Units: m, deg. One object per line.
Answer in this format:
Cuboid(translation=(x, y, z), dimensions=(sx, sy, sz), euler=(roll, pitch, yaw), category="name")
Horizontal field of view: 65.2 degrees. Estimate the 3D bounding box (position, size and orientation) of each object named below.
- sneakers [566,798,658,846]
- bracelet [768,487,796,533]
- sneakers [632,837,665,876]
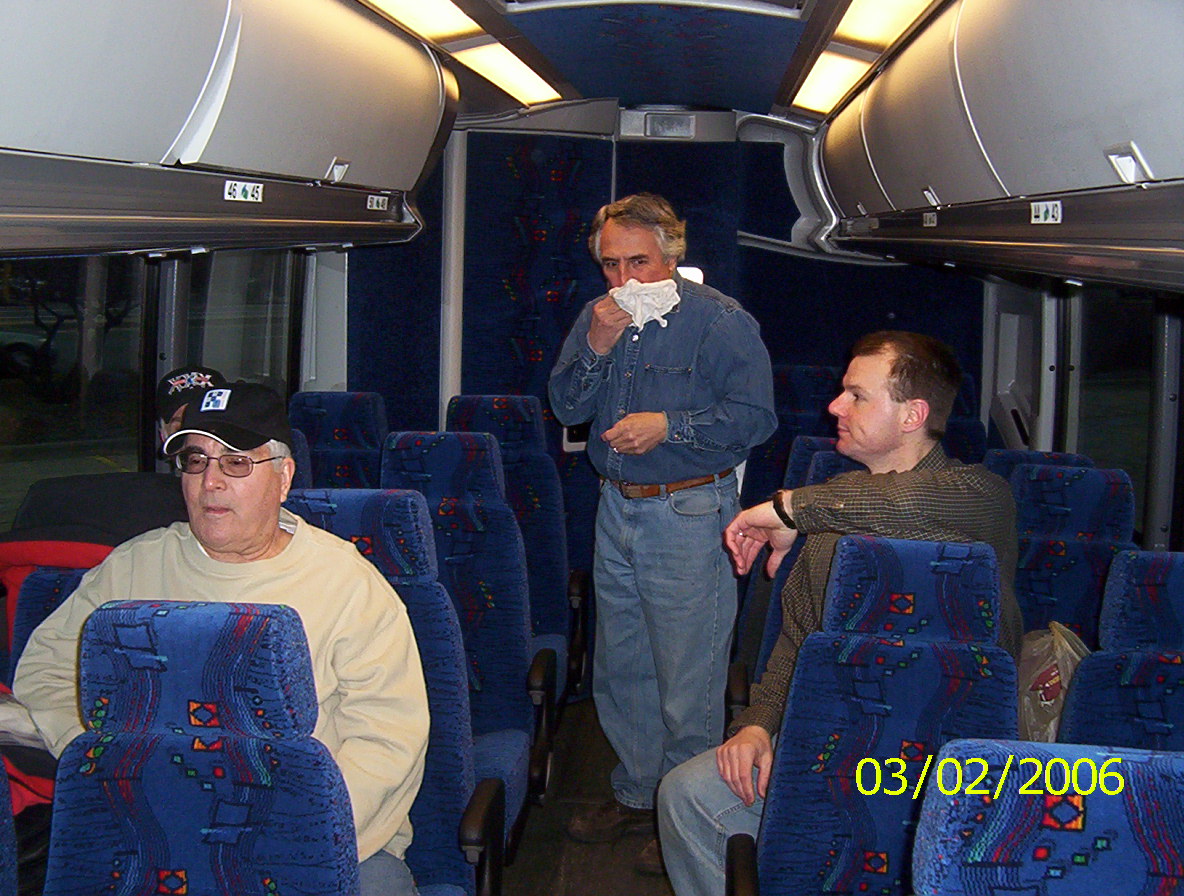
Cuboid(translation=(0.083, 1.477, 3.658), dimensions=(0.335, 0.120, 0.107), euler=(4, -12, -12), category="sneakers")
Cuboid(translation=(0.518, 0.170, 2.537), dimensions=(0.038, 0.092, 0.074), euler=(-25, -25, 25), category="bracelet")
Cuboid(translation=(0.208, 1.516, 3.434), dimensions=(0.147, 0.074, 0.237), euler=(-1, -1, -7), category="sneakers")
